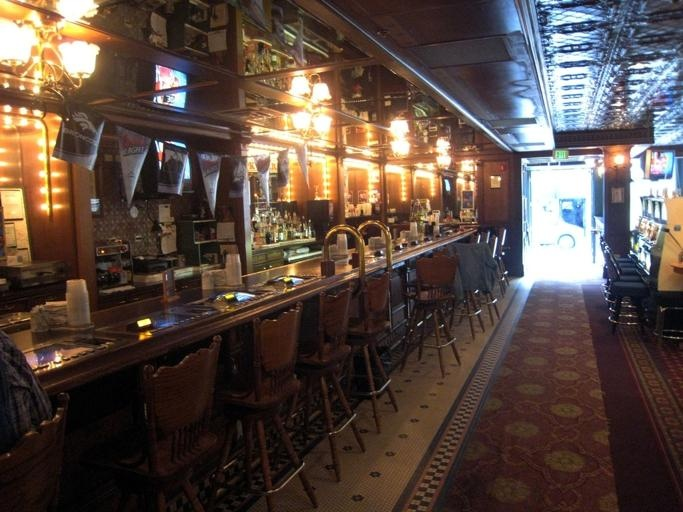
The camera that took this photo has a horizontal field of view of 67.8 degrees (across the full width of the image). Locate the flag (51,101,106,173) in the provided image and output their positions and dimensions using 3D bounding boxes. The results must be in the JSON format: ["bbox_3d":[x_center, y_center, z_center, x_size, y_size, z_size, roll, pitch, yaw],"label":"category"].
[{"bbox_3d":[-2.017,-0.906,3.909,0.120,0.453,0.382,4,10,35],"label":"flag"}]

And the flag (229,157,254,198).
[{"bbox_3d":[-1.317,-0.991,6.511,0.228,0.513,0.912,-3,9,-11],"label":"flag"}]

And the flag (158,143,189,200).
[{"bbox_3d":[-1.836,-0.953,5.517,0.311,0.547,0.694,-4,9,-17],"label":"flag"}]

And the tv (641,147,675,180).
[{"bbox_3d":[8.579,-2.483,13.852,0.715,0.827,0.771,1,9,16],"label":"tv"}]

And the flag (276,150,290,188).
[{"bbox_3d":[-0.793,-1.190,6.869,0.136,0.470,0.210,-4,9,-15],"label":"flag"}]
